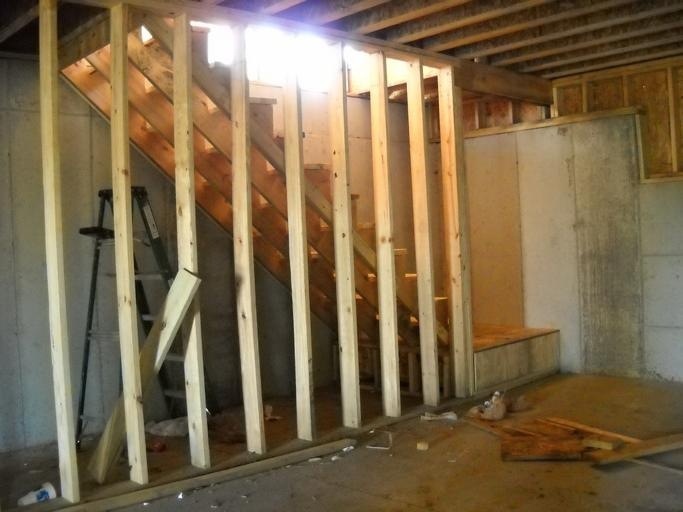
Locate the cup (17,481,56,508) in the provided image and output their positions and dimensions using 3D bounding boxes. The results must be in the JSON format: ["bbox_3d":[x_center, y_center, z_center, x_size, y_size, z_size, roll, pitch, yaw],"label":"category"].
[{"bbox_3d":[-1.940,1.505,4.606,0.193,0.086,0.120,-13,27,-37],"label":"cup"}]

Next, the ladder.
[{"bbox_3d":[-1.481,0.511,6.086,1.540,2.226,0.744,0,15,-21],"label":"ladder"}]
